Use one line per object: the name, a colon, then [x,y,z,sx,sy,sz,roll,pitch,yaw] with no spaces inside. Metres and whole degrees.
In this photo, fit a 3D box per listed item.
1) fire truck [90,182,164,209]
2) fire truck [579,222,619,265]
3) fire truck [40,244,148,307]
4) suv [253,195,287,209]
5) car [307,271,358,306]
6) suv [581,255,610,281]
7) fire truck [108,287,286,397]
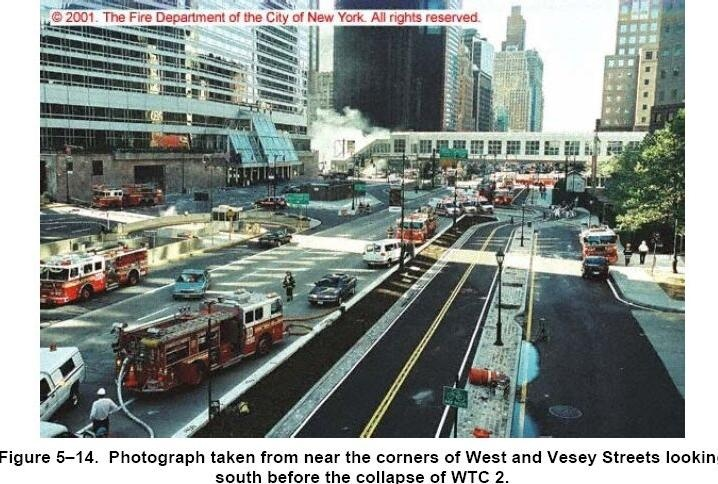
fire truck: [-30.321,-5.830,86.965,2.522,3.039,8.742,11,16,40]
fire truck: [22.612,0.064,62.636,3.197,3.737,9.041,-3,2,16]
fire truck: [-19.026,2.025,47.876,2.382,3.485,8.932,4,13,19]
suv: [-13.432,-5.330,96.758,4.418,1.494,2.904,2,4,9]
car: [-1.595,3.291,46.432,1.521,1.187,3.730,0,5,17]
suv: [19.047,2.015,53.216,1.276,1.100,2.292,2,16,20]
fire truck: [-8.160,5.184,35.440,4.075,3.797,9.698,0,8,32]
